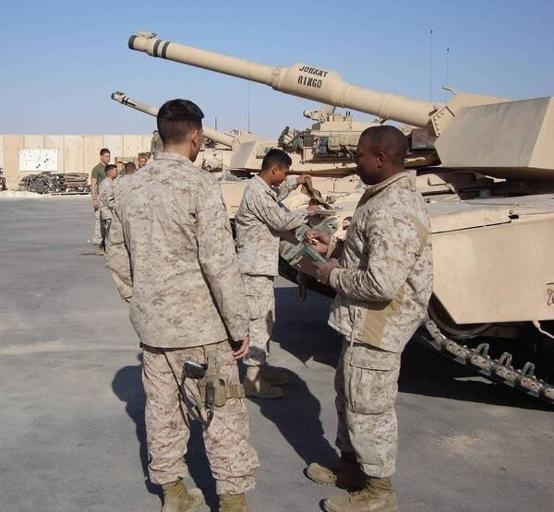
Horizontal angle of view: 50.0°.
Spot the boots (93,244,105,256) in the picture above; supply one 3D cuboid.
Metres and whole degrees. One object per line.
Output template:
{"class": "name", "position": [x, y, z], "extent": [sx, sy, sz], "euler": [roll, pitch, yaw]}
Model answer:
{"class": "boots", "position": [-3.646, -0.103, 12.172], "extent": [0.237, 0.228, 0.179], "euler": [4, 27, 5]}

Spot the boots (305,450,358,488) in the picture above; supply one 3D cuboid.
{"class": "boots", "position": [0.311, 1.265, 3.520], "extent": [0.299, 0.193, 0.164], "euler": [13, -3, 3]}

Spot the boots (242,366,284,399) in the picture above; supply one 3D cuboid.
{"class": "boots", "position": [-0.049, 1.032, 4.732], "extent": [0.461, 0.279, 0.154], "euler": [0, 3, 1]}
